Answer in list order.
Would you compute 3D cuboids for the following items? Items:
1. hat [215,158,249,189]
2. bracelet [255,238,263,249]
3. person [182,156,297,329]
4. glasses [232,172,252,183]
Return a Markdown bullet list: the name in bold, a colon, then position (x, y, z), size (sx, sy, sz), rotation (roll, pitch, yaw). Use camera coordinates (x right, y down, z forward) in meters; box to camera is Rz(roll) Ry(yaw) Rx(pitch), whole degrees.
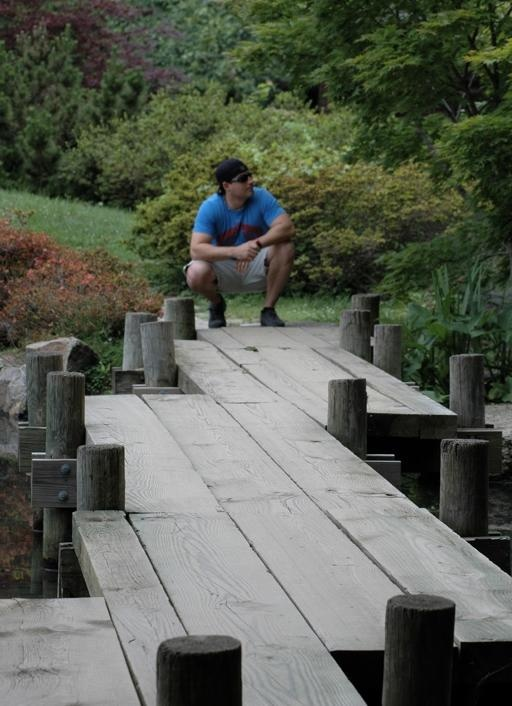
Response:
- **hat**: position (-0.174, -1.235, 6.791), size (0.217, 0.165, 0.161), rotation (-23, 16, 26)
- **bracelet**: position (0.014, -0.734, 6.728), size (0.047, 0.059, 0.060), rotation (-27, -46, 14)
- **person**: position (-0.097, -0.750, 7.007), size (0.763, 1.151, 0.649), rotation (-1, 4, 7)
- **glasses**: position (-0.106, -1.180, 6.725), size (0.103, 0.029, 0.091), rotation (11, 27, 44)
